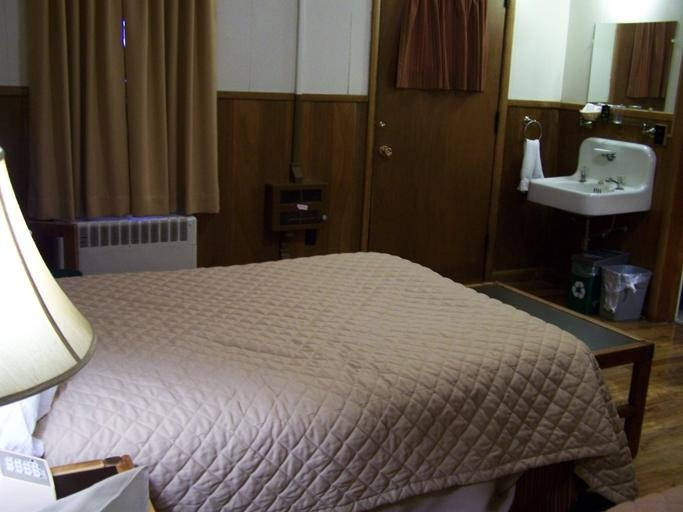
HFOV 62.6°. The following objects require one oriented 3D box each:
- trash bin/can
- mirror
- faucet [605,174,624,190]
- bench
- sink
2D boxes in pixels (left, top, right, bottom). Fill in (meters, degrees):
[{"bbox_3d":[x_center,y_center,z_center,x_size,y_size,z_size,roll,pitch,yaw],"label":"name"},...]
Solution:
[{"bbox_3d":[2.070,0.193,4.383,0.483,0.499,0.434,-3,14,-9],"label":"trash bin/can"},{"bbox_3d":[2.185,-1.400,4.175,0.057,0.864,0.645,-9,14,-41],"label":"mirror"},{"bbox_3d":[2.089,-0.558,4.337,0.119,0.101,0.057,-6,12,-12],"label":"faucet"},{"bbox_3d":[0.941,0.489,2.387,0.324,0.349,0.641,-7,19,-19],"label":"bench"},{"bbox_3d":[1.905,-0.629,4.356,0.596,0.555,0.816,-1,14,-14],"label":"sink"}]
